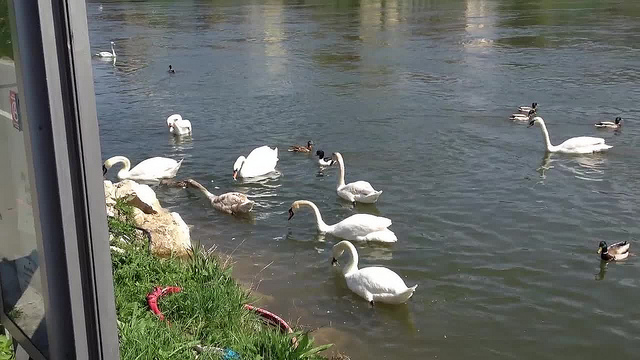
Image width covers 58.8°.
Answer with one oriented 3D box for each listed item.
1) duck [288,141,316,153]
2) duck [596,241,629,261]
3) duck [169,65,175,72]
[{"bbox_3d":[-1.225,-1.826,31.105,1.992,0.657,0.465,2,26,-5],"label":"duck"},{"bbox_3d":[10.832,2.605,20.762,1.116,0.691,0.585,-24,30,-3],"label":"duck"},{"bbox_3d":[-13.066,-9.853,49.951,0.641,0.476,0.491,2,11,4],"label":"duck"}]
